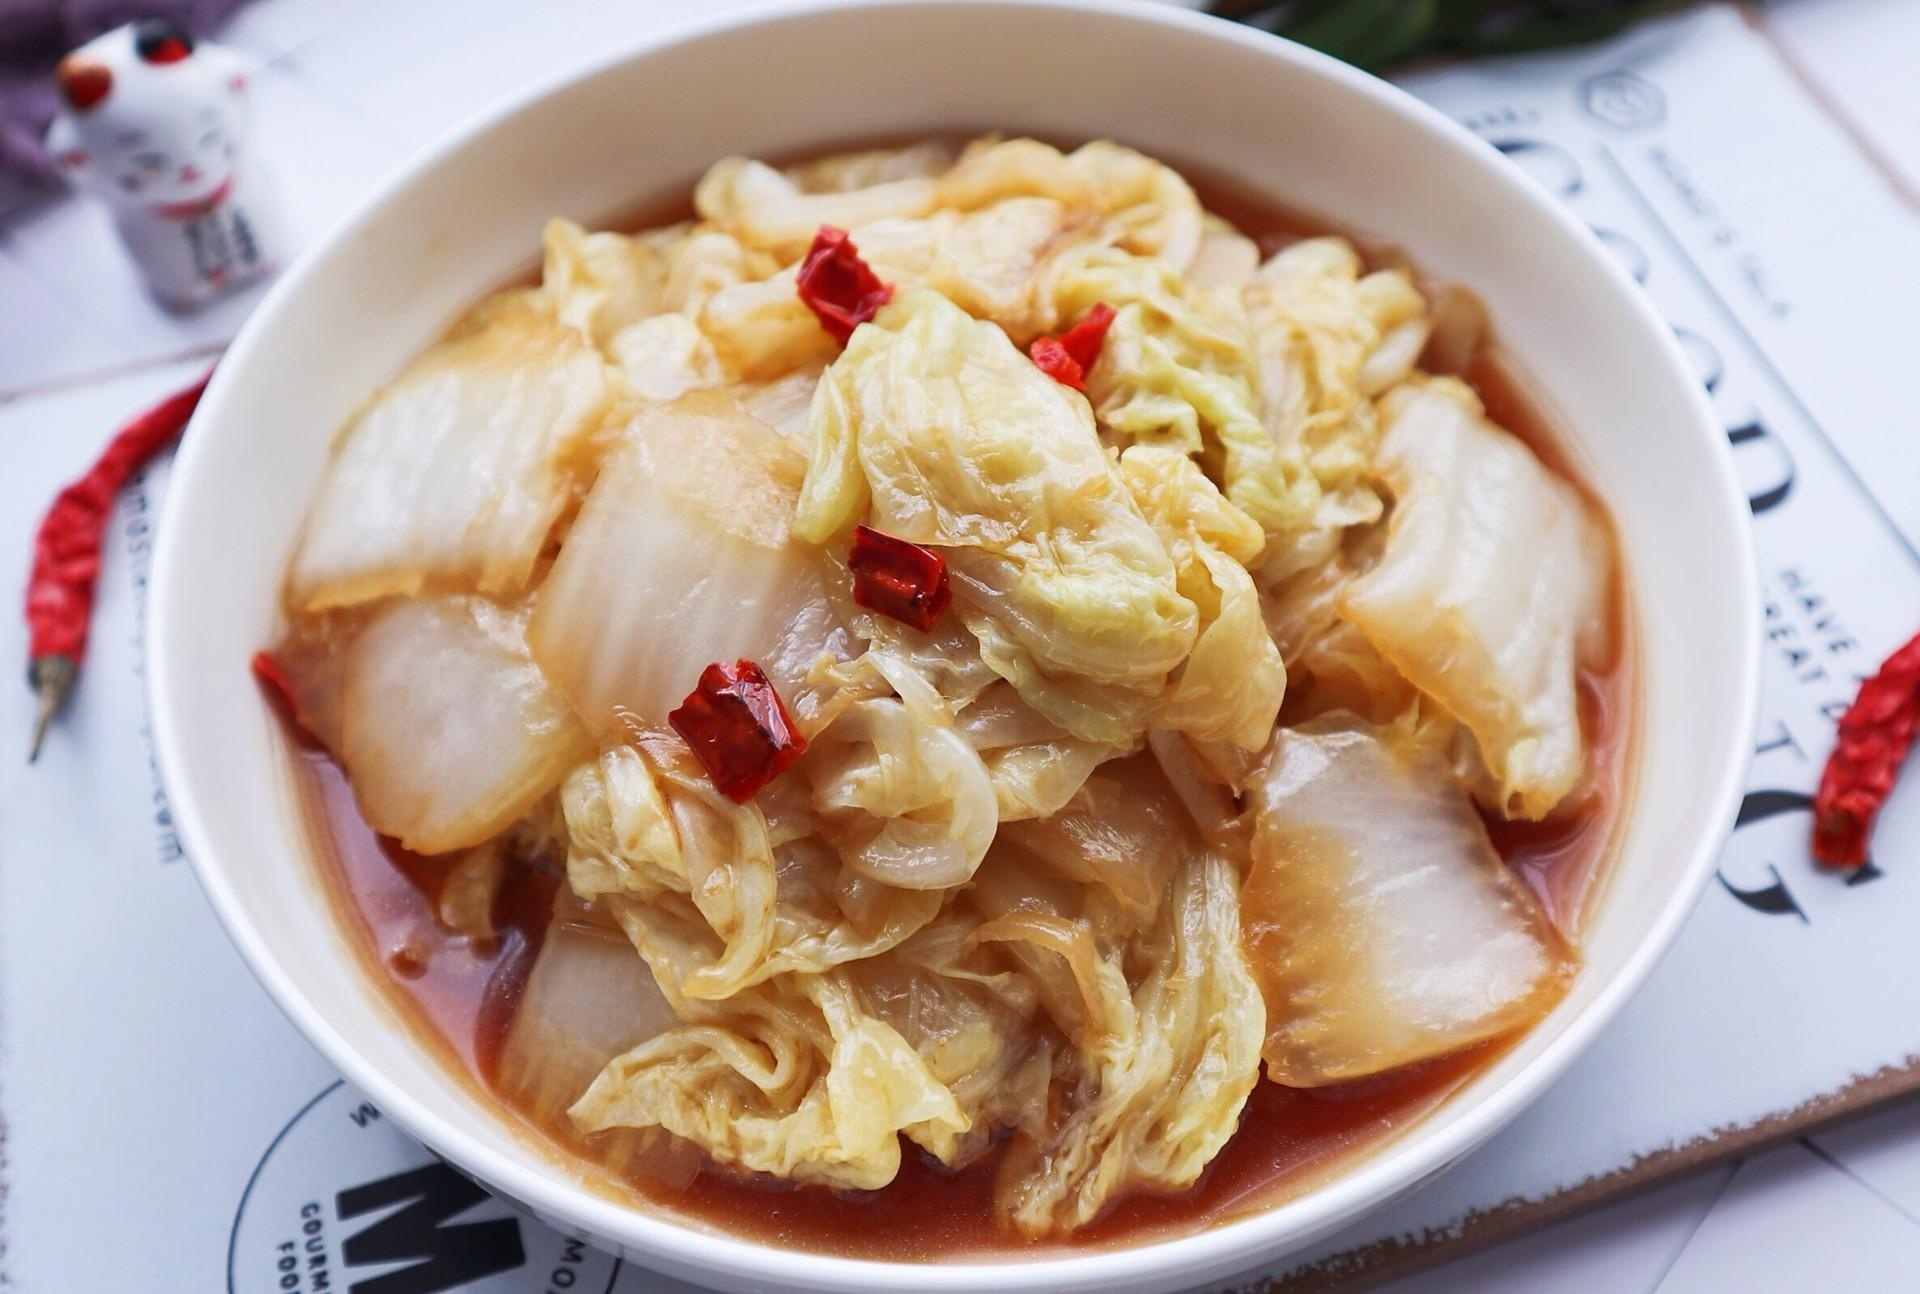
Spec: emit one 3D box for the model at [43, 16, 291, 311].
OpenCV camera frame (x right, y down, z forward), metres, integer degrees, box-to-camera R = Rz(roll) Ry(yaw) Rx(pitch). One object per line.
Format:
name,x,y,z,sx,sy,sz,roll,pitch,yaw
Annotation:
model,-1.553,-0.914,3.603,0.366,0.547,0.329,-36,71,-22
